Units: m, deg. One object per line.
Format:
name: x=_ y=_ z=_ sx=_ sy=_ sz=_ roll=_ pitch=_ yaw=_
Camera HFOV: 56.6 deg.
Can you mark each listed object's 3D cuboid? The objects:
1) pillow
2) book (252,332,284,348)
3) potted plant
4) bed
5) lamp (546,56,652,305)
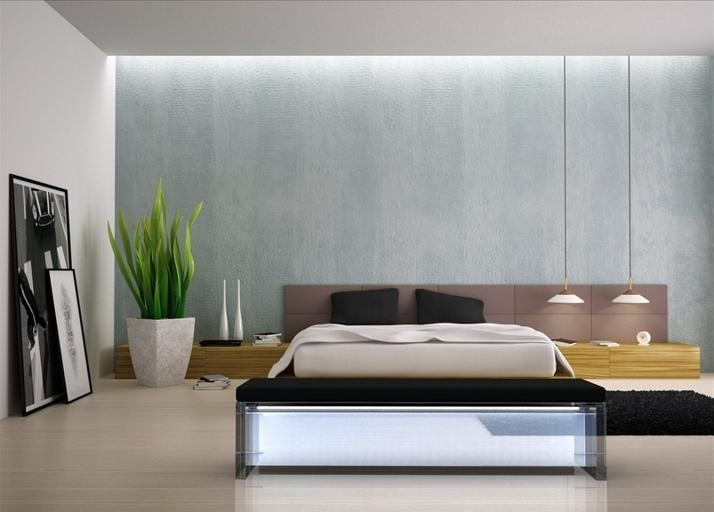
pillow: x=0.531 y=0.589 z=7.245 sx=1.685 sy=0.399 sz=0.525 roll=1 pitch=10 yaw=5
book: x=-0.980 y=0.917 z=7.236 sx=0.289 sy=0.103 sz=0.186 roll=0 pitch=10 yaw=2
potted plant: x=-2.122 y=0.257 z=7.066 sx=0.891 sy=2.092 sz=1.081 roll=-4 pitch=11 yaw=-20
bed: x=0.604 y=0.754 z=5.474 sx=2.139 sy=0.330 sz=0.578 roll=0 pitch=10 yaw=-1
lamp: x=2.791 y=-0.840 z=7.370 sx=1.048 sy=2.769 sz=1.083 roll=2 pitch=10 yaw=11
